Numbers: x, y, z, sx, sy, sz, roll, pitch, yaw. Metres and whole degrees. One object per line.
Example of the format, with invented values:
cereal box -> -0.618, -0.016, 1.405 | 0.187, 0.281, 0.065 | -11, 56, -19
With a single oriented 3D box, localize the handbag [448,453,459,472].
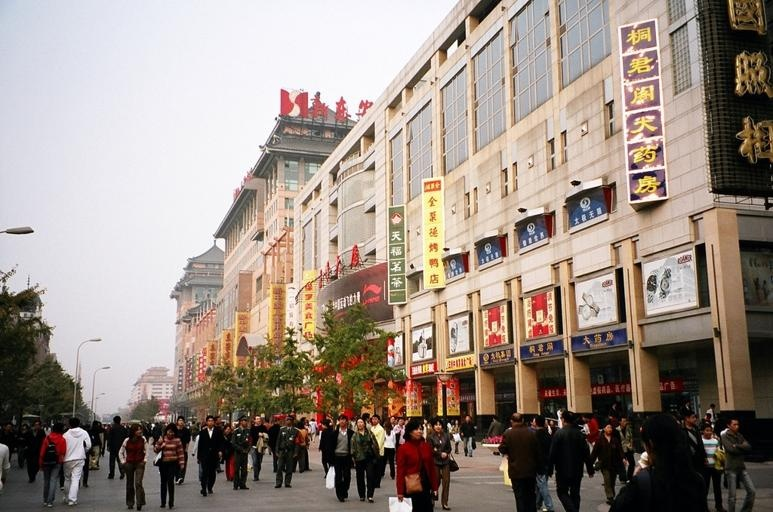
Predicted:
handbag -> 2.130, 6.739, 25.901 | 0.251, 0.427, 0.598 | -4, -2, 0

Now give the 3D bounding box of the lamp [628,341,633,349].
lamp -> 12.260, 4.434, 40.305 | 0.266, 0.412, 0.090 | -5, -2, 21

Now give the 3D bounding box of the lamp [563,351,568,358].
lamp -> 9.933, 5.422, 44.361 | 0.063, 0.358, 0.274 | -3, -2, -31

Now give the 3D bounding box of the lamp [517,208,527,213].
lamp -> 8.177, -2.760, 48.311 | 0.357, 0.363, 0.357 | 21, -22, -41

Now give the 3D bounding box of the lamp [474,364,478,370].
lamp -> 5.859, 7.331, 52.952 | 0.235, 0.262, 0.253 | 1, 1, 16

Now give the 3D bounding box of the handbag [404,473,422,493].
handbag -> 0.700, 6.149, 21.740 | 0.420, 0.457, 0.191 | -5, -23, 2

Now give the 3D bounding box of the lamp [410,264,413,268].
lamp -> 1.996, 0.766, 62.436 | 0.143, 0.360, 0.661 | -4, -2, -12

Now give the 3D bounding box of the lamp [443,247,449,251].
lamp -> 4.212, -0.495, 56.827 | 0.246, 0.360, 0.291 | 5, -15, -7

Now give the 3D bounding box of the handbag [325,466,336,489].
handbag -> -1.943, 7.726, 27.992 | 0.245, 0.616, 0.773 | -4, -2, 5
